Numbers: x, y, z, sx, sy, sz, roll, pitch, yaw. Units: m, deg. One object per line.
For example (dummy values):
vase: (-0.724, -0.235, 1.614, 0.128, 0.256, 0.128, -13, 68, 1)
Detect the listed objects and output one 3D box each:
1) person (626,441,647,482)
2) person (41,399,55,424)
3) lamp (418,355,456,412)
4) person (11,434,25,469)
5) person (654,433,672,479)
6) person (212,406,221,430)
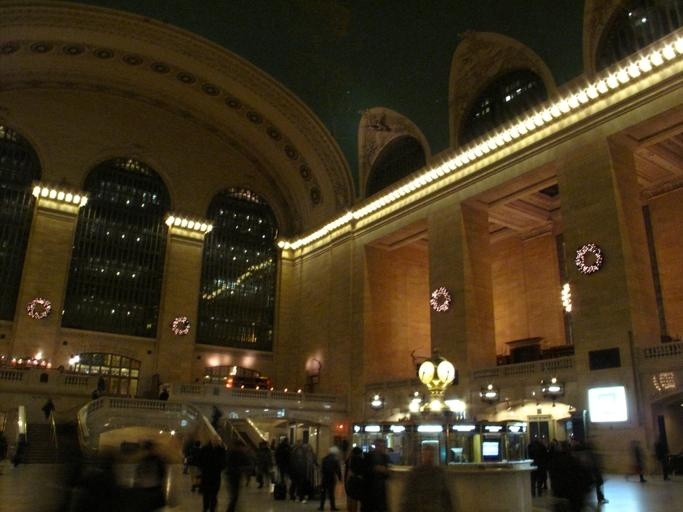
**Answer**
person: (8.625, 5.896, 16.936, 0.351, 1.150, 2.018, -7, -23, 24)
person: (-11.675, 6.095, 23.140, 0.505, 0.981, 1.631, 12, -23, -25)
lamp: (1.926, 2.577, 11.855, 0.651, 1.274, 1.266, -1, -21, 8)
person: (-10.593, 6.343, 19.101, 0.335, 1.043, 1.807, 12, -23, -25)
person: (9.313, 5.809, 16.880, 0.353, 1.277, 2.152, -8, -23, 26)
person: (-5.352, 6.870, 24.814, 0.423, 1.012, 1.047, 6, -21, -11)
